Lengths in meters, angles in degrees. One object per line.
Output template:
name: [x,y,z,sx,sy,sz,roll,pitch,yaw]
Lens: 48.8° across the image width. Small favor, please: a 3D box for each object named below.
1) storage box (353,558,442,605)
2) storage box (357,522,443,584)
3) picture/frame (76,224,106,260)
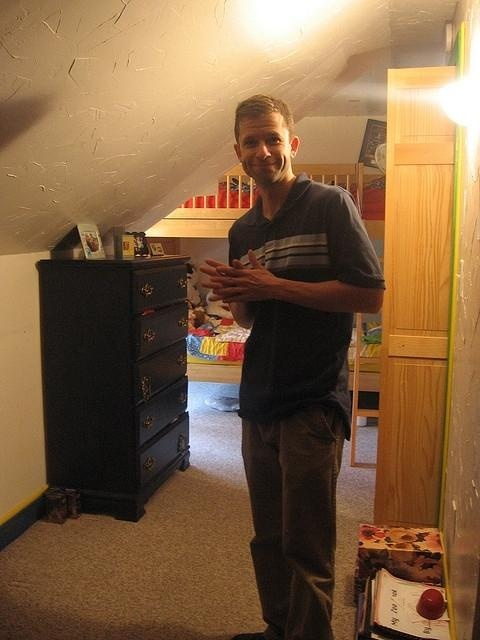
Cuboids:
storage box: [0.459,0.740,1.541,0.240,0.120,0.154,2,-3,-1]
storage box: [0.502,0.726,1.662,0.280,0.135,0.281,-2,-9,35]
picture/frame: [-0.599,-0.316,2.124,0.012,0.157,0.164,-14,6,17]
